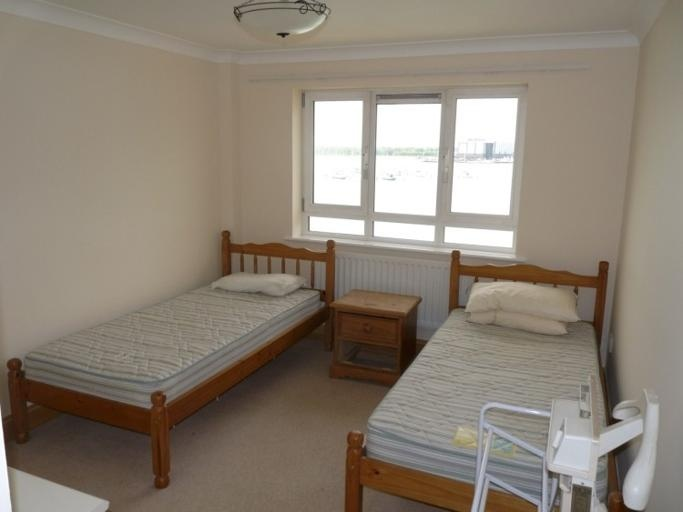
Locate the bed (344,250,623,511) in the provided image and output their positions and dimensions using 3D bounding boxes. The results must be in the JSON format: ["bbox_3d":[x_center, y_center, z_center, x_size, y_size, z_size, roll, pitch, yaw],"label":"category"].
[{"bbox_3d":[1.063,0.772,3.573,1.200,1.179,2.210,3,11,22],"label":"bed"}]

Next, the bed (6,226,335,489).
[{"bbox_3d":[-1.123,0.555,4.302,1.300,1.219,2.321,3,8,23],"label":"bed"}]

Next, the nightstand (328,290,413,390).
[{"bbox_3d":[0.322,0.733,4.741,0.698,0.672,0.644,5,10,15],"label":"nightstand"}]

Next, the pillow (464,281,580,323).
[{"bbox_3d":[1.435,0.337,4.058,0.556,0.155,0.441,5,18,20],"label":"pillow"}]
